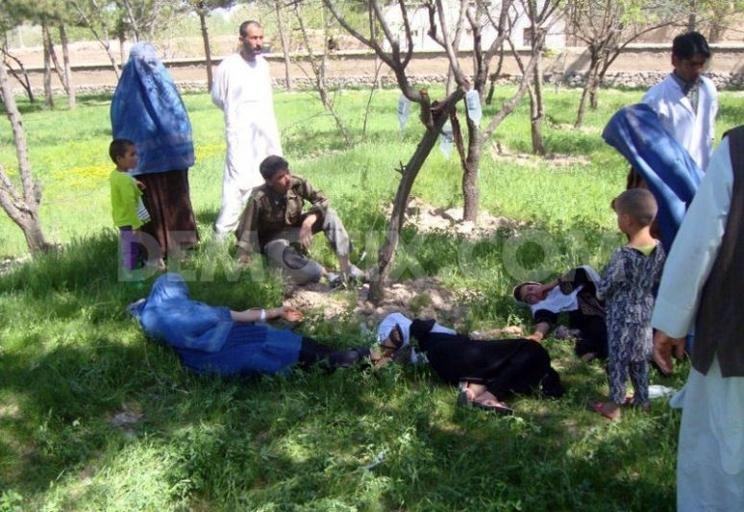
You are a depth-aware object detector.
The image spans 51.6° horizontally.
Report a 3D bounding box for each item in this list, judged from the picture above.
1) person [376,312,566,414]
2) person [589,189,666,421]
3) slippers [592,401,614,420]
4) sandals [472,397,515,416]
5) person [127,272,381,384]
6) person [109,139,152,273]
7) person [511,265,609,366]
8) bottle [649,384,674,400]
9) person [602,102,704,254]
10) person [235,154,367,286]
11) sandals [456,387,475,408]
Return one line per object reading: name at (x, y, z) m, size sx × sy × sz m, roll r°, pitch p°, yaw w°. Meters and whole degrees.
person at (0.848, 0.936, 7.025) m, size 1.131 × 0.394 × 0.897 m, roll 12°, pitch -8°, yaw 22°
person at (2.263, 0.396, 6.862) m, size 0.573 × 2.051 × 0.598 m, roll -7°, pitch 16°, yaw -14°
slippers at (2.038, 1.337, 6.736) m, size 0.085 × 0.088 × 0.210 m, roll -13°, pitch 26°, yaw -34°
sandals at (1.060, 1.281, 6.717) m, size 0.321 × 0.100 × 0.127 m, roll 11°, pitch 10°, yaw 9°
person at (-1.189, 0.770, 7.310) m, size 2.456 × 1.001 × 0.705 m, roll 5°, pitch 4°, yaw 8°
person at (-2.622, -0.534, 8.222) m, size 0.325 × 1.440 × 0.434 m, roll -1°, pitch 17°, yaw 2°
person at (2.041, 0.471, 7.593) m, size 1.307 × 0.574 × 0.977 m, roll 10°, pitch 20°, yaw 32°
bottle at (2.578, 1.198, 6.839) m, size 0.165 × 0.074 × 0.131 m, roll -4°, pitch 8°, yaw 2°
person at (2.795, -0.907, 7.171) m, size 0.823 × 0.579 × 1.319 m, roll 17°, pitch -5°, yaw 34°
person at (-0.766, -0.364, 8.194) m, size 1.583 × 1.288 × 0.992 m, roll 17°, pitch 32°, yaw 32°
sandals at (0.829, 1.247, 6.781) m, size 0.147 × 0.115 × 0.132 m, roll 10°, pitch 21°, yaw 32°
